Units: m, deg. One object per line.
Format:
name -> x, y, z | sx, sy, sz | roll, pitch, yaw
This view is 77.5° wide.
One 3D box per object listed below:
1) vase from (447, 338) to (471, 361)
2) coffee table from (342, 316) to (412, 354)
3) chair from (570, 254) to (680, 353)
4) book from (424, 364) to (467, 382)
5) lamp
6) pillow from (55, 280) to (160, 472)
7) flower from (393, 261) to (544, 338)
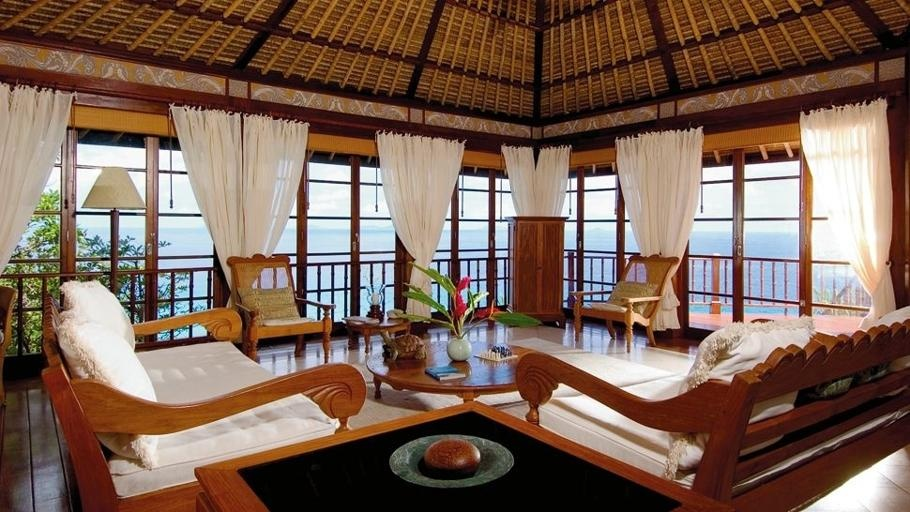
vase -> 0.040, 0.930, 5.719 | 0.258, 0.196, 0.238 | -4, 2, -5
coffee table -> -1.075, 0.899, 7.112 | 0.626, 0.253, 0.608 | 0, -1, -36
chair -> 2.543, 0.612, 7.943 | 1.426, 1.541, 1.326 | 6, -5, -34
book -> -0.103, 1.095, 5.323 | 0.413, 0.095, 0.271 | -1, 1, 29
lamp -> -3.764, -0.280, 6.230 | 0.543, 1.073, 0.880 | -4, 2, -32
pillow -> -2.517, 0.889, 4.054 | 0.544, 0.541, 1.563 | 7, 15, -35
flower -> 0.185, 0.545, 5.985 | 1.385, 0.517, 1.318 | 15, 0, 20
